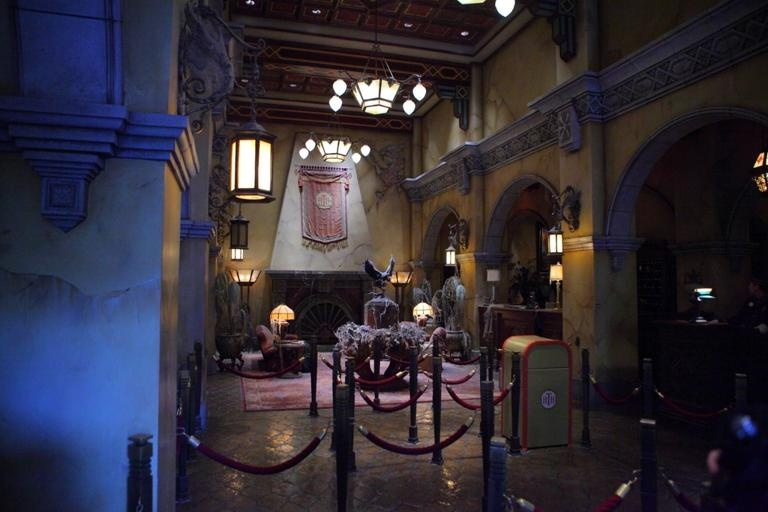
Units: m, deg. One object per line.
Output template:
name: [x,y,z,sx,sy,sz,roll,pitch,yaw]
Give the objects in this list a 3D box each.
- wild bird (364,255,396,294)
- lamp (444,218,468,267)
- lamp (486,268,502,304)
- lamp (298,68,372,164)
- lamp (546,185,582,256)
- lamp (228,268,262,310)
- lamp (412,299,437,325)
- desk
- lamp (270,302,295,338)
wild bird: [-0.142,0.488,15.886,0.903,1.030,0.515,2,-13,-17]
lamp: [1.744,-0.334,14.767,0.548,1.137,0.297,-5,-10,30]
lamp: [2.418,0.650,13.805,0.263,0.805,0.849,0,-5,9]
lamp: [-1.077,-3.523,16.293,1.848,2.647,2.157,3,0,41]
lamp: [3.082,-0.602,10.632,0.468,1.146,1.027,0,-4,9]
lamp: [-3.667,0.835,16.191,0.774,1.029,0.785,1,-4,-11]
lamp: [0.922,1.302,14.517,0.460,0.525,0.479,-2,-2,31]
desk: [2.492,1.643,12.778,0.754,1.497,2.242,0,10,-40]
lamp: [-2.374,1.382,13.687,0.603,0.855,0.620,-2,-7,28]
